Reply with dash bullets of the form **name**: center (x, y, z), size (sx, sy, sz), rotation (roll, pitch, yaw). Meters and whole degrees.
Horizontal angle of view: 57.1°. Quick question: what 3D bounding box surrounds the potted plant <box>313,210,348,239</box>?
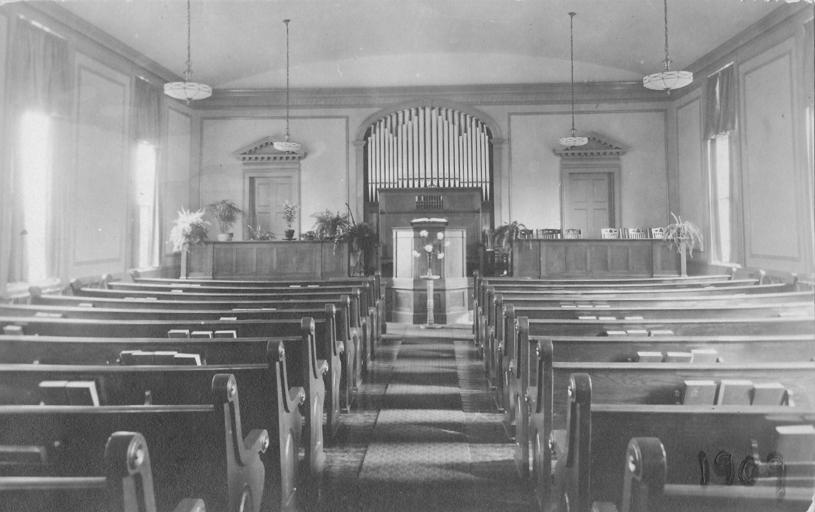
- **potted plant**: center (-1.474, -0.638, 15.025), size (0.682, 0.507, 0.699), rotation (-1, -4, 28)

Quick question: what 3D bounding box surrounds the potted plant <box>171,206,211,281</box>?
- **potted plant**: center (-3.929, -0.205, 13.438), size (0.660, 0.781, 0.458), rotation (1, 0, -17)

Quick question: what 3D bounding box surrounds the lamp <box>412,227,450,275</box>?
- **lamp**: center (0.402, -0.074, 12.466), size (0.655, 1.126, 0.688), rotation (0, -4, 0)

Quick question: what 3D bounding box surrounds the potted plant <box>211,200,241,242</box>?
- **potted plant**: center (-3.664, -0.753, 14.933), size (0.709, 0.856, 0.716), rotation (0, -3, -9)
